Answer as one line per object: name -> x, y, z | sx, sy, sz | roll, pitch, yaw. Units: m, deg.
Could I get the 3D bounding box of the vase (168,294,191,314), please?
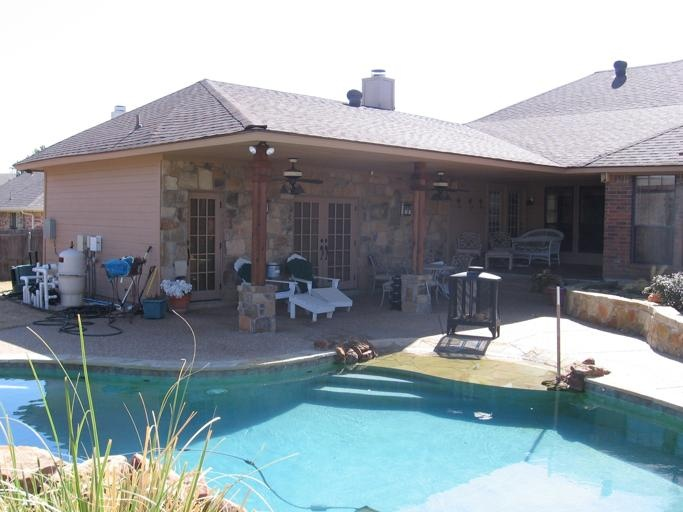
vase -> -3.304, 0.966, 11.180 | 0.391, 0.258, 0.362 | 0, -3, -8

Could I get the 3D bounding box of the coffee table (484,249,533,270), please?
coffee table -> 4.966, 0.147, 16.828 | 0.845, 0.399, 1.098 | 4, 6, 27

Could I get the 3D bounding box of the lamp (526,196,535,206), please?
lamp -> 6.306, -1.821, 18.298 | 0.270, 0.356, 0.261 | -5, 12, -25

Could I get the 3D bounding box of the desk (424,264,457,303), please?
desk -> 2.315, 0.629, 13.541 | 0.932, 0.823, 0.909 | 1, -1, -38

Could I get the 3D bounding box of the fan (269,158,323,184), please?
fan -> -0.833, -1.709, 11.240 | 0.865, 0.311, 0.824 | -1, 3, -14

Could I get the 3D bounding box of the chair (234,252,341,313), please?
chair -> -0.787, 0.679, 11.314 | 1.325, 0.772, 1.820 | -7, 13, -35

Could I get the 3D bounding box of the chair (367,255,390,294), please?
chair -> 1.095, 0.554, 14.585 | 0.705, 1.003, 0.591 | 3, -9, 19

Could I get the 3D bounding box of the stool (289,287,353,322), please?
stool -> -0.457, 0.983, 11.011 | 1.185, 0.504, 1.059 | -5, 12, -25

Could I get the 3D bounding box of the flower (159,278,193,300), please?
flower -> -3.337, 0.645, 11.046 | 0.466, 0.214, 0.443 | 7, 4, -9
